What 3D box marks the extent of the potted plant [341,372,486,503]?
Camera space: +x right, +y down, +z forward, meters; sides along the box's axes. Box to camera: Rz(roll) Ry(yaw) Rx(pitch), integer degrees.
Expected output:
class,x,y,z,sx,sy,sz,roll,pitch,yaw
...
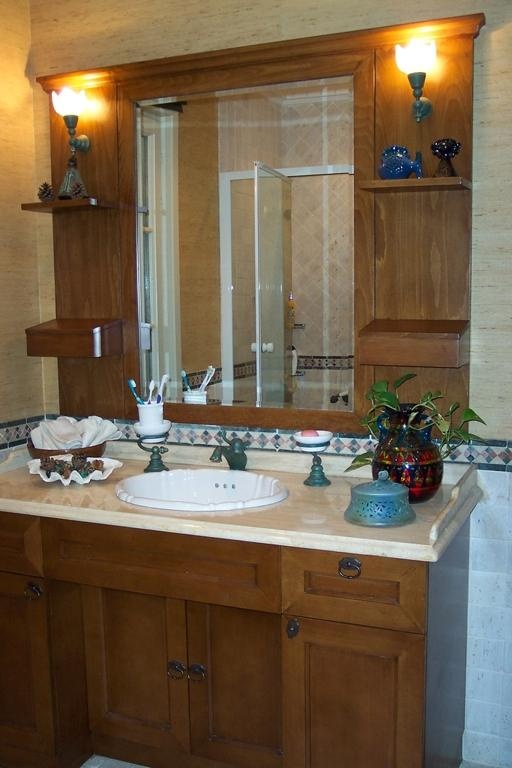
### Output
class,x,y,z,sx,sy,sz,roll,pitch,yaw
potted plant,0.421,0.160,1.741,0.290,0.283,0.272,-8,-1,44

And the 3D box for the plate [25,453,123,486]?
class,x,y,z,sx,sy,sz,roll,pitch,yaw
plate,-0.566,0.262,2.084,0.280,0.092,0.268,-3,8,-16

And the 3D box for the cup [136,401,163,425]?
class,x,y,z,sx,sy,sz,roll,pitch,yaw
cup,-0.337,0.091,2.135,0.070,0.058,0.071,1,5,0

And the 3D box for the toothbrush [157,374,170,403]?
class,x,y,z,sx,sy,sz,roll,pitch,yaw
toothbrush,-0.317,0.012,2.254,0.027,0.111,0.018,6,7,36

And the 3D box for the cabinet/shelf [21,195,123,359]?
class,x,y,z,sx,sy,sz,roll,pitch,yaw
cabinet/shelf,-0.639,-0.346,2.287,0.332,0.541,0.216,2,8,25

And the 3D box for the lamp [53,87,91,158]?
class,x,y,z,sx,sy,sz,roll,pitch,yaw
lamp,-0.653,-0.909,2.304,0.157,0.232,0.098,5,10,39

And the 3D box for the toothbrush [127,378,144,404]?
class,x,y,z,sx,sy,sz,roll,pitch,yaw
toothbrush,-0.415,0.021,2.301,0.023,0.089,0.017,-17,-9,14

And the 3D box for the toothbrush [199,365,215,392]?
class,x,y,z,sx,sy,sz,roll,pitch,yaw
toothbrush,-0.160,-0.017,2.227,0.031,0.105,0.033,23,29,13

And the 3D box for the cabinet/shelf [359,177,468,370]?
class,x,y,z,sx,sy,sz,roll,pitch,yaw
cabinet/shelf,0.418,-0.293,1.821,0.331,0.523,0.265,1,8,17

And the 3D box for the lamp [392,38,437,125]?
class,x,y,z,sx,sy,sz,roll,pitch,yaw
lamp,0.438,-0.837,1.816,0.106,0.220,0.095,2,8,20

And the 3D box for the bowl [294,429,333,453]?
class,x,y,z,sx,sy,sz,roll,pitch,yaw
bowl,0.172,0.160,1.935,0.078,0.038,0.077,-1,-2,0

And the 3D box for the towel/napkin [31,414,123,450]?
class,x,y,z,sx,sy,sz,roll,pitch,yaw
towel/napkin,-0.607,0.164,2.227,0.164,0.055,0.163,-2,11,2

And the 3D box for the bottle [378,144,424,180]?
class,x,y,z,sx,sy,sz,roll,pitch,yaw
bottle,0.395,-0.600,1.798,0.116,0.100,0.061,2,-2,13
